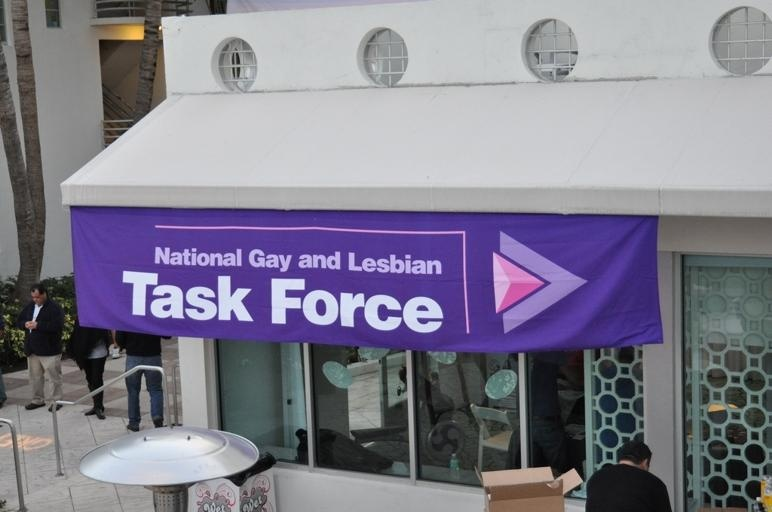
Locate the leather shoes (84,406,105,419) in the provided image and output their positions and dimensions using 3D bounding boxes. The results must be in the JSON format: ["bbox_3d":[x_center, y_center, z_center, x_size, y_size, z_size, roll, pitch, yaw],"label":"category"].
[{"bbox_3d":[-5.284,2.754,29.117,0.507,0.210,0.157,10,6,33],"label":"leather shoes"}]

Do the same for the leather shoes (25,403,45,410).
[{"bbox_3d":[-6.395,2.670,29.540,0.342,0.129,0.124,1,4,-28],"label":"leather shoes"}]

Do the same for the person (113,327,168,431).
[{"bbox_3d":[-4.250,2.118,27.981,0.849,1.705,1.345,2,-4,-8],"label":"person"}]

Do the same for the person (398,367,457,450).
[{"bbox_3d":[0.663,2.263,24.780,0.663,1.386,0.235,-25,0,26],"label":"person"}]

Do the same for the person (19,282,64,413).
[{"bbox_3d":[-6.229,1.603,29.265,0.782,2.240,1.100,2,-4,-12],"label":"person"}]
